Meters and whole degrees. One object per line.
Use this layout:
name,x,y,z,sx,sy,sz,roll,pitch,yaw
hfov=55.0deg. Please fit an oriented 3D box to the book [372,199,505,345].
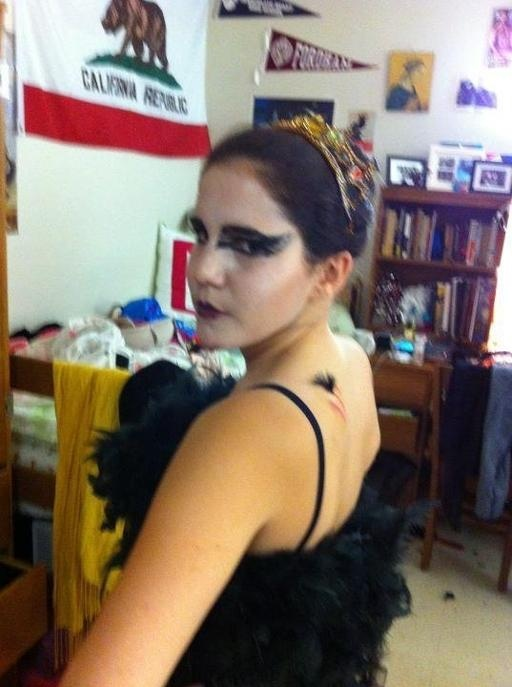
book,1.037,-0.408,2.730,0.560,0.943,0.224,8,6,9

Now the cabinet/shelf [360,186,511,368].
cabinet/shelf,0.958,-0.352,2.536,0.722,1.074,0.280,7,5,10
